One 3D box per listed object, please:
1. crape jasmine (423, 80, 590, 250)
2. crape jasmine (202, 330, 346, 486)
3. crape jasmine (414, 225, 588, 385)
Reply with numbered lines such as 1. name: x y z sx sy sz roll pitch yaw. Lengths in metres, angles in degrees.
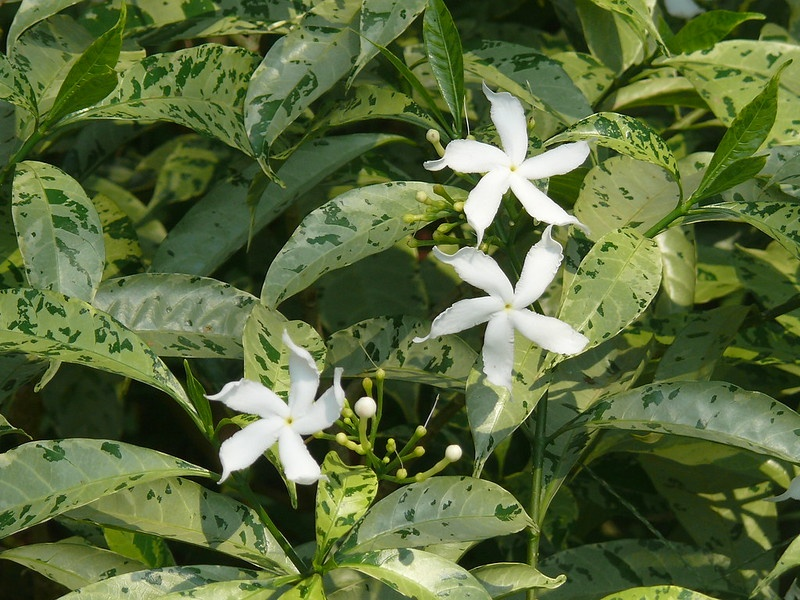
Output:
1. crape jasmine: 0.161 -0.215 1.604 0.079 0.178 0.243 8 -3 24
2. crape jasmine: -0.178 0.181 1.500 0.204 0.174 0.119 -11 26 -4
3. crape jasmine: 0.160 0.021 1.545 0.233 0.255 0.138 -7 27 5
